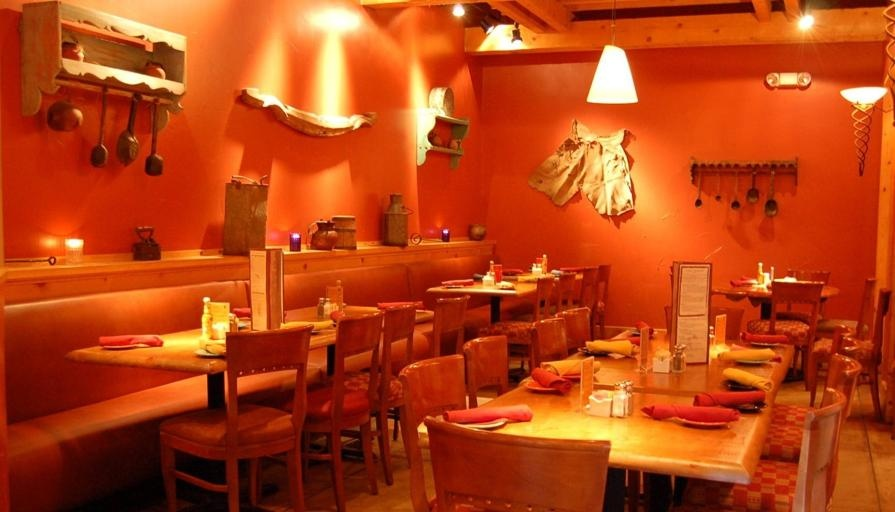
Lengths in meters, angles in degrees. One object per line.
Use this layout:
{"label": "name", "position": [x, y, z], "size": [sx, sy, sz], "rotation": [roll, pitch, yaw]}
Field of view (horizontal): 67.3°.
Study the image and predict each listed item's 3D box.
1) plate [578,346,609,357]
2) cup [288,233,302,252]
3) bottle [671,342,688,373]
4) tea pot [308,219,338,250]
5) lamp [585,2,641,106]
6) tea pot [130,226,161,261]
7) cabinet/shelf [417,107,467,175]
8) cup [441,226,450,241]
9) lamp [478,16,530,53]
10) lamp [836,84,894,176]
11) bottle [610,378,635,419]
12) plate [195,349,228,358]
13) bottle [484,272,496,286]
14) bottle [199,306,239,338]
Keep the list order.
{"label": "plate", "position": [0.998, 0.634, 4.554], "size": [0.222, 0.080, 0.117], "rotation": [0, -1, 11]}
{"label": "cup", "position": [-1.562, -0.124, 6.993], "size": [0.197, 0.235, 0.180], "rotation": [1, 4, 0]}
{"label": "bottle", "position": [1.447, 0.655, 4.239], "size": [0.077, 0.142, 0.107], "rotation": [0, -1, 23]}
{"label": "tea pot", "position": [-1.345, -0.211, 7.146], "size": [0.306, 0.299, 0.236], "rotation": [0, -1, 1]}
{"label": "lamp", "position": [1.378, -1.652, 5.626], "size": [0.379, 0.727, 0.893], "rotation": [0, -1, 15]}
{"label": "tea pot", "position": [-2.576, -0.094, 5.688], "size": [0.333, 0.312, 0.213], "rotation": [3, 5, 33]}
{"label": "cabinet/shelf", "position": [-0.110, -1.581, 9.218], "size": [0.355, 0.753, 1.250], "rotation": [-2, -1, 21]}
{"label": "cup", "position": [-0.039, -0.277, 9.313], "size": [0.181, 0.238, 0.171], "rotation": [-1, 1, 0]}
{"label": "lamp", "position": [0.679, -3.095, 9.530], "size": [0.786, 0.487, 0.246], "rotation": [-1, -3, 20]}
{"label": "lamp", "position": [5.342, -1.635, 8.633], "size": [0.481, 0.854, 0.630], "rotation": [0, -1, 29]}
{"label": "bottle", "position": [0.945, 0.785, 3.651], "size": [0.102, 0.162, 0.126], "rotation": [0, -1, 19]}
{"label": "plate", "position": [-1.618, 0.663, 4.519], "size": [0.252, 0.058, 0.074], "rotation": [-1, -2, 25]}
{"label": "bottle", "position": [0.447, 0.261, 7.461], "size": [0.155, 0.129, 0.136], "rotation": [0, -4, 14]}
{"label": "bottle", "position": [-1.621, 0.453, 4.853], "size": [0.300, 0.246, 0.269], "rotation": [2, 2, 15]}
